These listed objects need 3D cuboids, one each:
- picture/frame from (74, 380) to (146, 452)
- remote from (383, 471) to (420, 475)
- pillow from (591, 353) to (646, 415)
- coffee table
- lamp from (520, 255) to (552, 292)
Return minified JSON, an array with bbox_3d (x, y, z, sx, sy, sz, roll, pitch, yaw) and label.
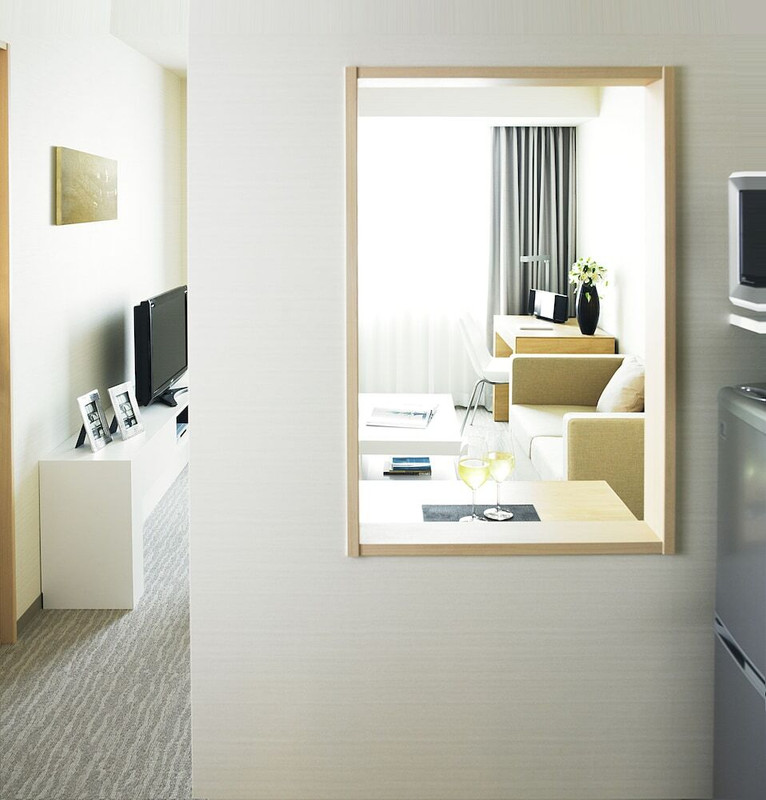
[{"bbox_3d":[-1.304,0.088,3.420,0.093,0.224,0.287,-2,7,13],"label":"picture/frame"},{"bbox_3d":[0.091,0.346,3.343,0.171,0.030,0.020,-1,8,-2],"label":"remote"},{"bbox_3d":[1.283,-0.048,3.898,0.222,0.316,0.457,2,10,17],"label":"pillow"},{"bbox_3d":[0.126,0.136,3.632,0.501,0.147,0.914,0,11,0],"label":"coffee table"},{"bbox_3d":[1.320,-1.091,6.254,0.279,0.301,0.160,-5,9,-26],"label":"lamp"}]
